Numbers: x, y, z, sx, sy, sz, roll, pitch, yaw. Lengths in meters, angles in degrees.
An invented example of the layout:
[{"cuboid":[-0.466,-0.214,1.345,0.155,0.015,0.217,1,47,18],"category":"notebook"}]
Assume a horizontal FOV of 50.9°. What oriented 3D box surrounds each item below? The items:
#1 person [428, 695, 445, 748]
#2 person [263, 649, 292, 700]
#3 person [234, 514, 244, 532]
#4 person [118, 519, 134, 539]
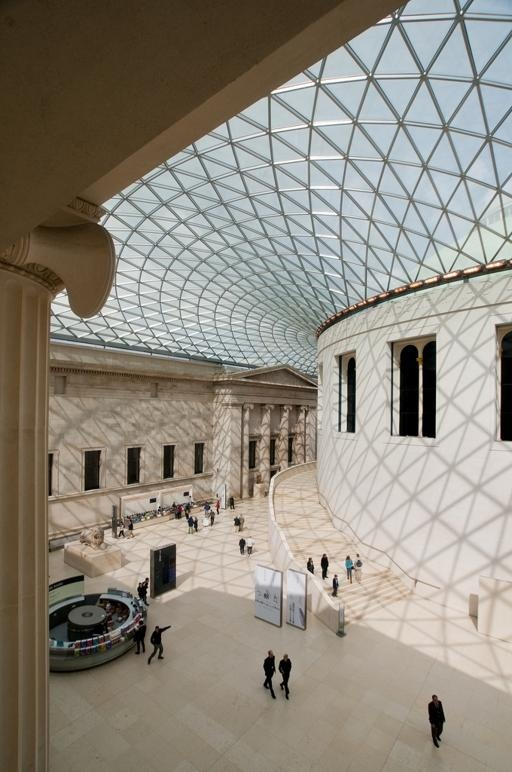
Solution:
[{"cuboid":[3.547,6.539,10.605,0.245,1.091,0.771,-1,-3,19],"category":"person"},{"cuboid":[0.493,6.695,12.704,0.606,1.007,1.104,0,-3,1],"category":"person"},{"cuboid":[-0.975,7.765,30.238,0.519,0.785,1.310,0,-3,-2],"category":"person"},{"cuboid":[-7.213,7.933,29.594,0.787,1.566,0.855,3,-4,-10],"category":"person"}]
